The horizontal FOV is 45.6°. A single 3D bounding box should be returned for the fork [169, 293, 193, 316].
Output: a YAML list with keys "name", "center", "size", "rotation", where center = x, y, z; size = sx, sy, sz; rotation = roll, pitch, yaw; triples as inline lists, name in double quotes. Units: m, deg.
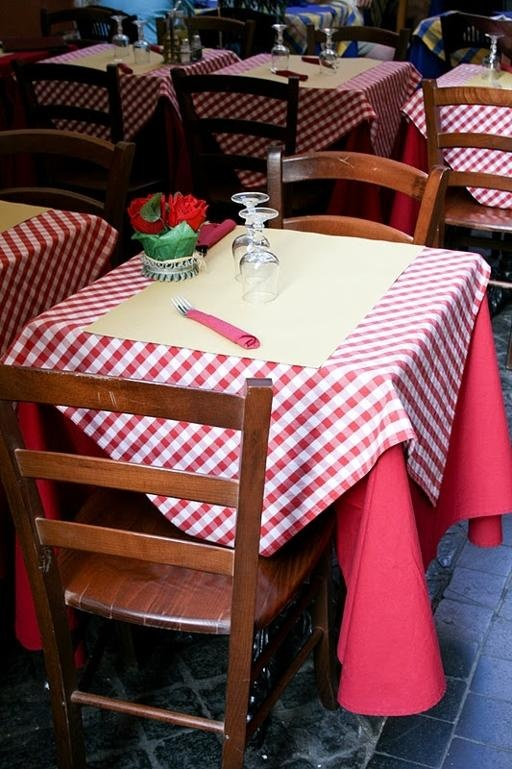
- name: "fork"
  center: [-0.115, -0.121, 0.950]
  size: [0.024, 0.007, 0.052]
  rotation: [-36, 62, -22]
